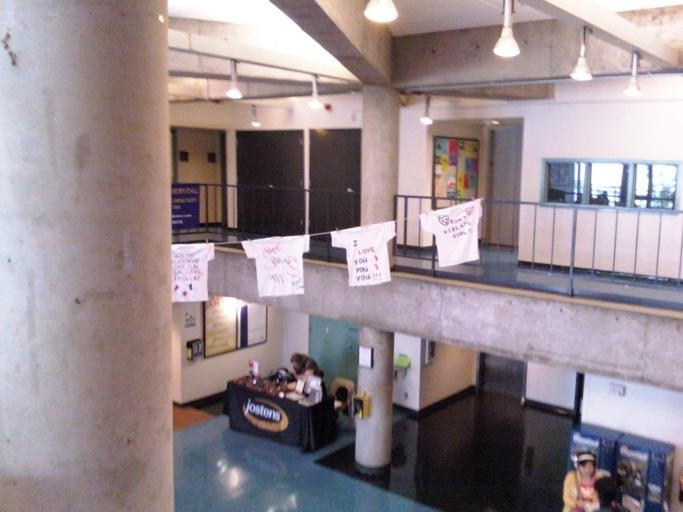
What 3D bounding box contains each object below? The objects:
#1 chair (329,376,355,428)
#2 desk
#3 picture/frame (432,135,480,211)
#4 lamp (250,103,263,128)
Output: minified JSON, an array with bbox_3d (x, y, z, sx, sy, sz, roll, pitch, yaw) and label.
[{"bbox_3d":[-0.080,2.814,10.616,0.462,0.506,0.358,5,6,-27],"label":"chair"},{"bbox_3d":[-1.252,2.884,10.688,1.906,0.901,0.760,10,9,28],"label":"desk"},{"bbox_3d":[2.253,-1.621,11.280,0.045,1.441,1.290,-6,11,-29],"label":"picture/frame"},{"bbox_3d":[-1.882,-3.108,12.725,0.224,0.555,1.241,-1,6,-9],"label":"lamp"}]
